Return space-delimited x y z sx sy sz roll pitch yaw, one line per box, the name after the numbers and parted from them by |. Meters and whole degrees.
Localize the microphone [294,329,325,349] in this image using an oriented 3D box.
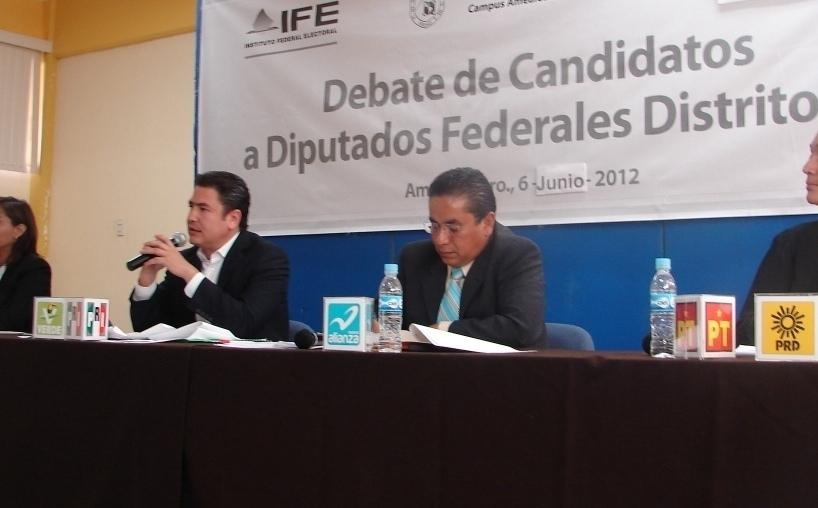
-0.315 0.292 2.346 0.064 0.052 0.121 19 6 34 | microphone

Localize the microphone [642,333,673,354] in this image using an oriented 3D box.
0.784 0.294 2.281 0.050 0.048 0.050 0 2 -24 | microphone

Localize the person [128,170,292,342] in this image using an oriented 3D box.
-0.880 0.038 3.162 0.602 0.742 0.531 7 14 25 | person

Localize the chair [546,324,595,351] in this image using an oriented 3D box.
0.689 0.365 3.037 0.152 0.136 0.165 -6 -12 24 | chair

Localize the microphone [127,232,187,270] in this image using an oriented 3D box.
-1.178 -0.009 3.343 0.102 0.082 0.322 32 42 23 | microphone

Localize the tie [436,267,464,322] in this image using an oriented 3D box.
0.183 0.192 3.046 0.081 0.270 0.072 16 -34 1 | tie
